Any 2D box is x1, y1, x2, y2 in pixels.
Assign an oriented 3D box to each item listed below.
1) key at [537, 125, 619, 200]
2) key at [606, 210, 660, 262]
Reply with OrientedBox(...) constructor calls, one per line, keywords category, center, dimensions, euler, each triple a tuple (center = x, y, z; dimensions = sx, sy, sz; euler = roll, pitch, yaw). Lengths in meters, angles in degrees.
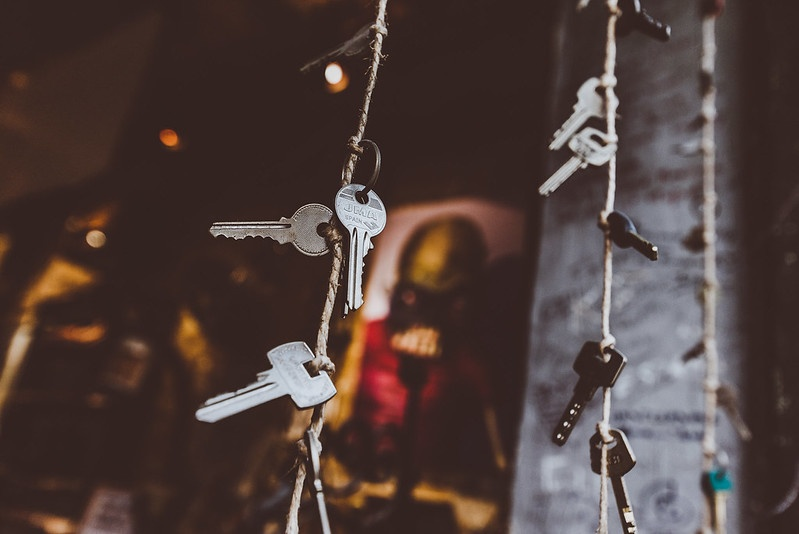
OrientedBox(category="key", center=(0.561, -0.327, 3.606), dimensions=(0.286, 0.058, 0.141), euler=(-46, 75, 3))
OrientedBox(category="key", center=(0.714, -0.090, 3.537), dimensions=(0.183, 0.037, 0.100), euler=(39, 94, 1))
